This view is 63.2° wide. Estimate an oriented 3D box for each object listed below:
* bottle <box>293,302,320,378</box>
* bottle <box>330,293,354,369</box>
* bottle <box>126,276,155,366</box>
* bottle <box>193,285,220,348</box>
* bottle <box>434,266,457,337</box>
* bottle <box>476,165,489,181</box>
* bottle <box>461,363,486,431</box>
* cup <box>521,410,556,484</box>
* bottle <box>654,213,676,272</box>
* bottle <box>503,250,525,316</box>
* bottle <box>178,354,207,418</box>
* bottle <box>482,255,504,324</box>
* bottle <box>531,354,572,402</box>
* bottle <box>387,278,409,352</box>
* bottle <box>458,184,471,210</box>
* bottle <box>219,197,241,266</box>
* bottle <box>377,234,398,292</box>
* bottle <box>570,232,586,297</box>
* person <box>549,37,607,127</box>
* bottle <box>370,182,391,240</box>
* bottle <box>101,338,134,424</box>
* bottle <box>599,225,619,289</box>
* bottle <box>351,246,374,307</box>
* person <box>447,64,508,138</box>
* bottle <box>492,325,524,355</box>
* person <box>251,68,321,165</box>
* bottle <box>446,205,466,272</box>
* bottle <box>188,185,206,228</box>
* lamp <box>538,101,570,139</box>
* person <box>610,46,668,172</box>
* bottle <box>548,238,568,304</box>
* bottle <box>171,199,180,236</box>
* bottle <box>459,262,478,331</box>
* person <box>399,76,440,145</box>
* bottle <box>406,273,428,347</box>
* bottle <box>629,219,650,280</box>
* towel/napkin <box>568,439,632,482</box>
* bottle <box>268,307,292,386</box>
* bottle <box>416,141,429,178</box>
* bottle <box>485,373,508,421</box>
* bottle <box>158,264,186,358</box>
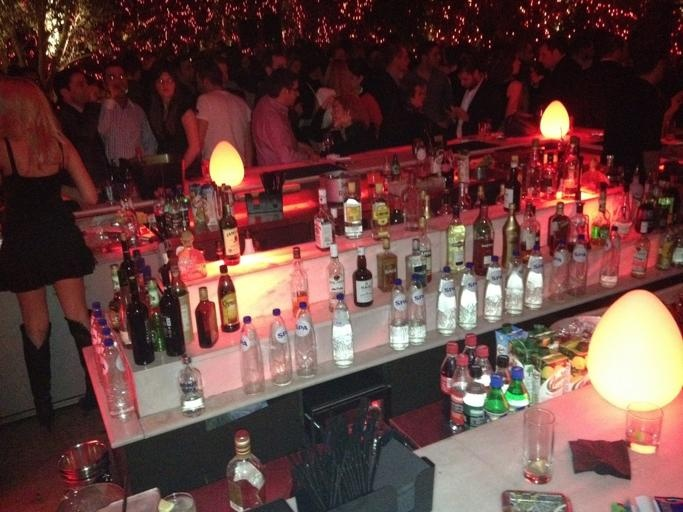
[{"bbox_3d":[-0.190,0.422,2.833,0.124,0.424,0.229,-4,7,-3],"label":"bottle"},{"bbox_3d":[0.000,0.383,2.937,0.122,0.419,0.254,-4,7,-1],"label":"bottle"},{"bbox_3d":[-0.968,0.305,2.654,0.105,0.441,0.140,-6,8,-20],"label":"bottle"},{"bbox_3d":[-0.686,0.322,2.822,0.107,0.259,0.160,-5,7,-14],"label":"bottle"},{"bbox_3d":[0.583,0.238,3.089,0.115,0.418,0.322,-2,7,12],"label":"bottle"},{"bbox_3d":[1.197,-0.710,4.744,0.079,0.152,0.079,-4,28,2],"label":"bottle"},{"bbox_3d":[0.624,0.687,2.599,0.109,0.258,0.085,-1,8,19],"label":"bottle"},{"bbox_3d":[0.775,0.729,2.185,0.117,0.277,0.174,-1,7,18],"label":"cup"},{"bbox_3d":[2.114,-0.068,3.623,0.172,0.303,0.118,-9,9,-39],"label":"bottle"},{"bbox_3d":[1.004,0.152,3.233,0.118,0.376,0.260,-1,7,18],"label":"bottle"},{"bbox_3d":[-0.734,0.631,2.707,0.123,0.285,0.131,-3,7,0],"label":"bottle"},{"bbox_3d":[0.869,0.186,3.188,0.116,0.376,0.200,-2,7,15],"label":"bottle"},{"bbox_3d":[1.001,0.578,2.648,0.147,0.289,0.160,1,14,0],"label":"bottle"},{"bbox_3d":[0.302,0.314,2.986,0.112,0.418,0.206,-3,7,6],"label":"bottle"},{"bbox_3d":[0.866,-0.428,3.929,0.068,0.181,0.170,-1,7,16],"label":"bottle"},{"bbox_3d":[-0.635,-0.126,3.137,0.096,0.342,0.212,-5,7,-13],"label":"bottle"},{"bbox_3d":[0.262,0.038,3.238,0.124,0.320,0.136,-3,7,0],"label":"bottle"},{"bbox_3d":[1.425,0.042,3.353,0.110,0.383,0.301,0,8,24],"label":"bottle"},{"bbox_3d":[2.547,-1.931,6.054,0.480,1.168,1.407,-1,8,21],"label":"person"},{"bbox_3d":[0.228,-0.274,3.317,0.098,0.334,0.244,-3,7,3],"label":"bottle"},{"bbox_3d":[-1.128,0.579,2.752,0.102,0.429,0.206,-9,9,-40],"label":"bottle"},{"bbox_3d":[1.673,0.021,3.460,0.113,0.342,0.113,-3,7,0],"label":"bottle"},{"bbox_3d":[0.114,0.104,3.052,0.116,0.339,0.339,-3,7,2],"label":"bottle"},{"bbox_3d":[1.575,-1.796,6.373,0.507,0.745,0.554,-3,7,1],"label":"person"},{"bbox_3d":[0.853,0.427,2.843,0.093,0.182,0.128,-11,24,-23],"label":"bottle"},{"bbox_3d":[-0.578,-1.303,5.328,0.519,0.849,0.637,-9,9,-35],"label":"person"},{"bbox_3d":[0.692,-0.117,3.380,0.124,0.386,0.288,-2,7,12],"label":"bottle"},{"bbox_3d":[-1.042,-0.357,3.999,0.126,0.328,0.104,-2,7,13],"label":"bottle"},{"bbox_3d":[1.850,-1.176,4.804,0.205,0.336,0.218,-9,9,-39],"label":"lamp"},{"bbox_3d":[2.199,-1.071,4.167,0.387,0.900,0.266,0,8,26],"label":"person"},{"bbox_3d":[1.294,0.084,3.302,0.107,0.367,0.237,-1,8,22],"label":"bottle"},{"bbox_3d":[-1.172,-0.273,3.935,0.062,0.236,0.049,-7,8,-27],"label":"bottle"},{"bbox_3d":[0.701,0.239,3.101,0.103,0.363,0.139,-2,7,10],"label":"bottle"},{"bbox_3d":[0.794,-1.472,5.769,0.367,0.701,1.460,-2,7,10],"label":"person"},{"bbox_3d":[0.414,0.286,3.057,0.103,0.408,0.255,-2,7,8],"label":"bottle"},{"bbox_3d":[1.933,-0.053,3.591,0.101,0.363,0.224,1,8,29],"label":"bottle"},{"bbox_3d":[1.029,0.800,2.200,0.234,0.094,0.164,-2,7,12],"label":"towel/napkin"},{"bbox_3d":[-0.314,0.449,2.817,0.122,0.423,0.276,-5,7,-11],"label":"bottle"},{"bbox_3d":[0.719,-0.869,4.959,0.102,0.346,0.474,-2,7,8],"label":"bottle"},{"bbox_3d":[0.707,0.630,2.516,0.116,0.247,0.151,-3,7,3],"label":"bottle"},{"bbox_3d":[-0.826,0.282,2.700,0.102,0.429,0.129,-6,8,-19],"label":"bottle"}]
